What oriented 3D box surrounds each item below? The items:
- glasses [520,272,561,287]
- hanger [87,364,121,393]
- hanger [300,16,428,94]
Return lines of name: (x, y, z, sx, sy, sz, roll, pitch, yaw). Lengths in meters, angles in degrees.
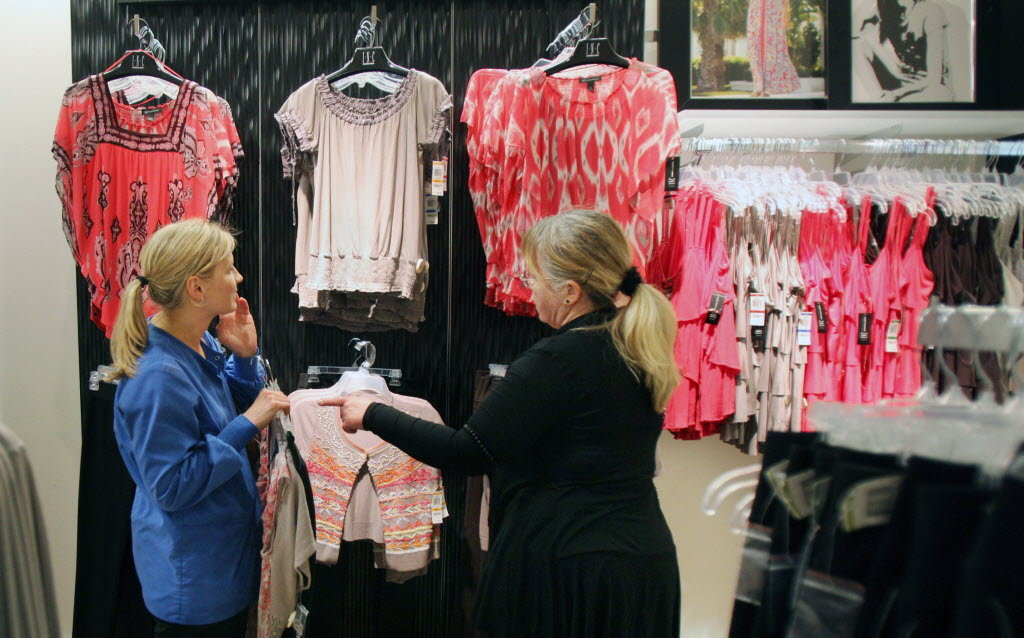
glasses: (0.129, -0.163, 4.398, 0.105, 0.045, 0.081, 9, 3, 40)
hanger: (-1.906, 0.283, 4.878, 0.142, 0.075, 0.186, -3, 9, 1)
hanger: (-0.730, -1.363, 5.307, 0.395, 0.419, 0.049, -1, 3, -8)
